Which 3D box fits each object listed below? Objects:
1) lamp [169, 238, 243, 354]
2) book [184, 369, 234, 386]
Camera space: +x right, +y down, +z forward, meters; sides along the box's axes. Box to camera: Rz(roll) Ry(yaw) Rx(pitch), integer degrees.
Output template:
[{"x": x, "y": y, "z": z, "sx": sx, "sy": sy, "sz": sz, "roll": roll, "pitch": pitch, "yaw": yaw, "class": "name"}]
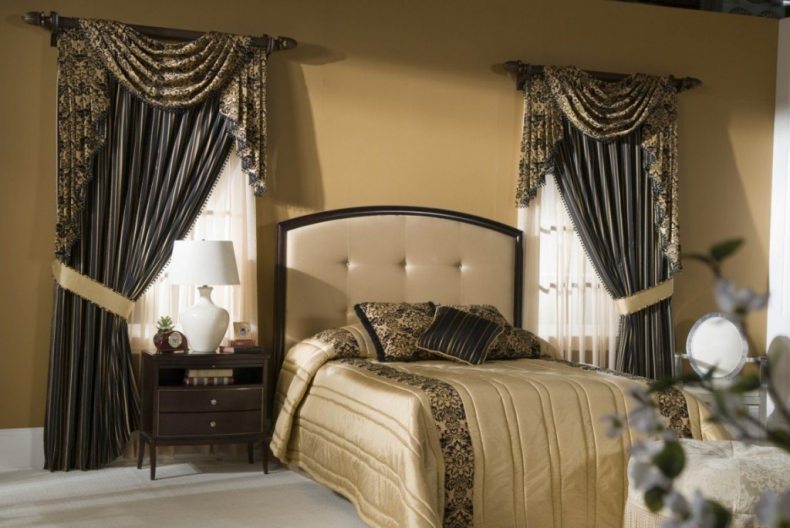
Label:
[{"x": -1.428, "y": 0.240, "z": 5.483, "sx": 0.497, "sy": 0.842, "sz": 0.348, "roll": 0, "pitch": -8, "yaw": -18, "class": "lamp"}, {"x": -1.357, "y": 0.836, "z": 5.388, "sx": 0.325, "sy": 0.129, "sz": 0.078, "roll": 1, "pitch": -8, "yaw": -22, "class": "book"}]
